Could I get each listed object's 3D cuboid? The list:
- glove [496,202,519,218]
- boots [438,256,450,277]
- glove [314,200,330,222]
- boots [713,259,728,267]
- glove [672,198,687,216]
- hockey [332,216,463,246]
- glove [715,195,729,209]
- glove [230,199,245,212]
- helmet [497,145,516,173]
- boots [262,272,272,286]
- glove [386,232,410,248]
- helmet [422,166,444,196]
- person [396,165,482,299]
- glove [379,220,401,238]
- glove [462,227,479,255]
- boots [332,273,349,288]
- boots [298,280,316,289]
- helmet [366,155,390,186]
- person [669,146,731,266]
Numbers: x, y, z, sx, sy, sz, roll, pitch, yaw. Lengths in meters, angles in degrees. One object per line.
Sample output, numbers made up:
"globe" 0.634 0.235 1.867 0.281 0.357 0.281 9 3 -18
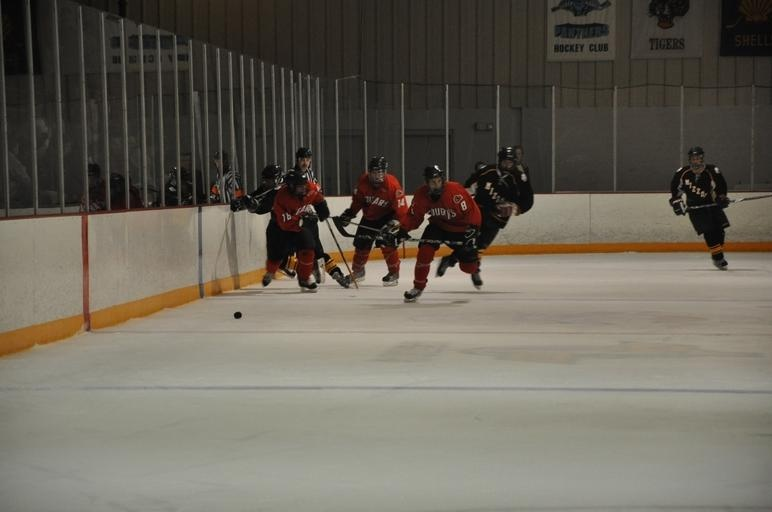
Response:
"glove" 1.803 -0.678 11.858 0.144 0.214 0.428 4 9 36
"boots" 0.782 0.146 10.730 0.104 0.342 0.138 17 47 -8
"glove" -0.866 -0.618 10.774 0.205 0.273 0.103 -19 -11 -12
"boots" 5.254 0.121 12.621 0.176 0.128 0.187 2 8 27
"glove" 4.844 -0.808 13.264 0.201 0.289 0.112 -7 1 21
"hockey" 0.128 -0.339 10.749 1.445 0.153 0.394 6 -18 27
"glove" 5.465 -0.871 12.997 0.189 0.191 0.047 4 -10 40
"glove" -1.986 -0.675 10.714 0.170 0.184 0.321 -3 7 -11
"helmet" 1.770 -1.422 11.776 0.276 0.366 0.375 2 -15 3
"boots" -1.611 0.311 10.874 0.117 0.206 0.049 14 23 -10
"glove" 0.149 -0.207 10.330 0.180 0.115 0.248 3 -1 19
"helmet" 0.584 -0.887 9.599 0.237 0.364 0.303 -1 7 3
"person" 0.678 -0.312 9.855 1.395 1.573 0.630 -6 8 -33
"glove" 0.038 -0.345 10.268 0.258 0.255 0.196 -3 17 -23
"glove" 1.069 -0.186 9.850 0.134 0.298 0.226 11 3 -19
"boots" -0.633 0.317 10.871 0.328 0.150 0.116 26 44 37
"boots" -1.021 0.379 10.485 0.224 0.147 0.247 -2 7 -9
"helmet" -0.122 -1.146 10.643 0.336 0.397 0.393 0 0 -4
"person" 5.113 -0.815 13.118 0.873 1.900 1.115 1 7 20
